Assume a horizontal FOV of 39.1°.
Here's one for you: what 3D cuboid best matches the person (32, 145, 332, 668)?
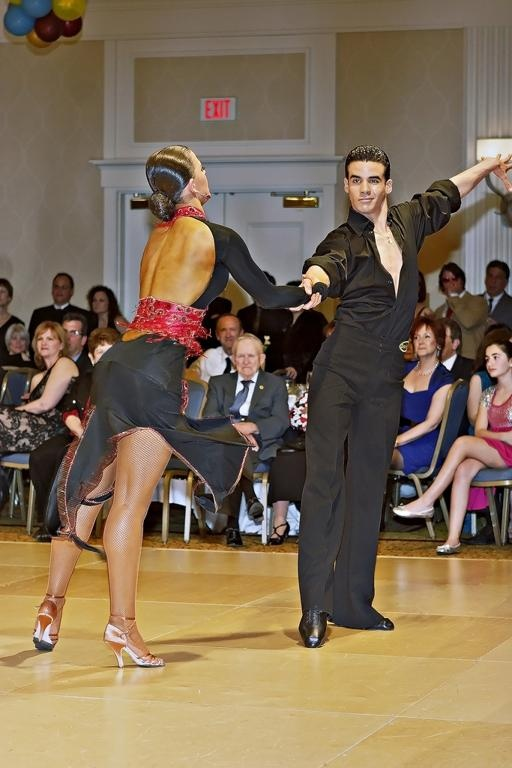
[{"bbox_3d":[-0.257,0.077,2.187,0.801,1.554,0.398,2,-2,-8],"label":"person"}]

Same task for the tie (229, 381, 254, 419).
[{"bbox_3d":[-0.110,0.112,5.076,0.117,0.315,0.081,21,8,-2],"label":"tie"}]

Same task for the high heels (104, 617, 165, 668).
[{"bbox_3d":[-0.345,0.739,2.057,0.140,0.171,0.155,1,-2,11],"label":"high heels"}]

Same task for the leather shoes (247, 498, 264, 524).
[{"bbox_3d":[-0.003,0.825,4.665,0.070,0.180,0.080,-3,30,-9],"label":"leather shoes"}]

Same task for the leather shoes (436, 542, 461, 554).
[{"bbox_3d":[1.137,0.976,4.280,0.132,0.044,0.063,5,-10,-24],"label":"leather shoes"}]

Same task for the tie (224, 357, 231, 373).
[{"bbox_3d":[-0.243,-0.134,6.187,0.048,0.193,0.061,2,-25,6],"label":"tie"}]

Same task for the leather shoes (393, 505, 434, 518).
[{"bbox_3d":[0.982,0.807,4.534,0.286,0.085,0.109,5,-6,-2],"label":"leather shoes"}]
